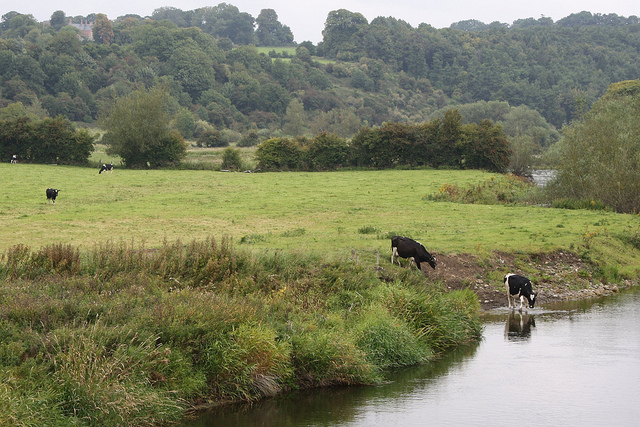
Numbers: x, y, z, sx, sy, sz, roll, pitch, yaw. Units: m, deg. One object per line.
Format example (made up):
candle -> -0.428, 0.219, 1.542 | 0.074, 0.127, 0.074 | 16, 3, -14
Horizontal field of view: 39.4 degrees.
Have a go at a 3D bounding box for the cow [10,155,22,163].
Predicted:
cow -> -42.521, -7.804, 125.199 | 1.410, 0.945, 1.570 | -3, 11, -20

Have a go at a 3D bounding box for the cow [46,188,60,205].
cow -> -27.007, -1.846, 90.382 | 0.916, 1.365, 1.976 | -3, 11, -20

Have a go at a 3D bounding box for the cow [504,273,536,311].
cow -> 16.374, 6.454, 72.752 | 1.481, 2.720, 4.583 | 5, 2, -17
